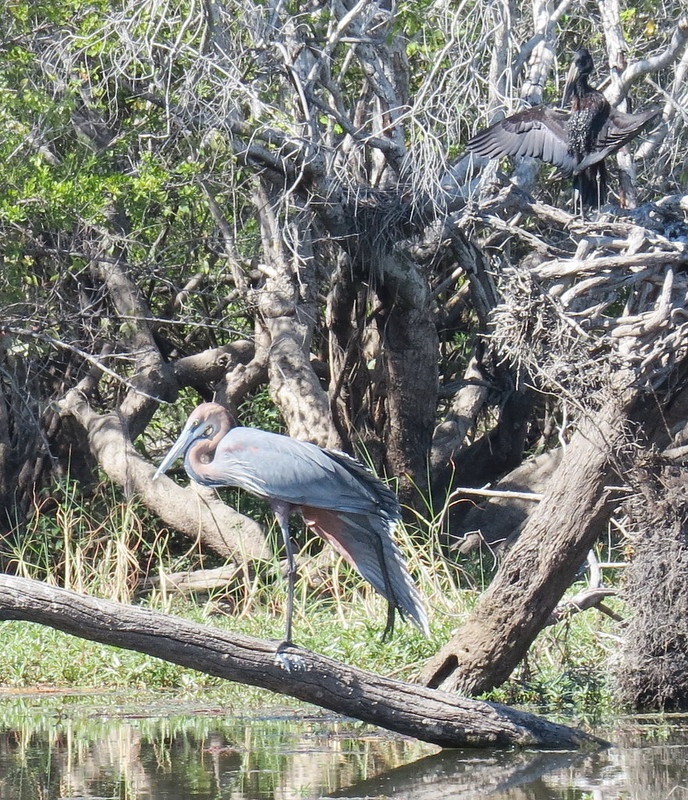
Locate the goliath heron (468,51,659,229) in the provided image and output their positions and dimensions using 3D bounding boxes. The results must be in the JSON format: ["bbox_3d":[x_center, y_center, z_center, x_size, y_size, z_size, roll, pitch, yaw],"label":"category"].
[{"bbox_3d":[1.340,-1.493,8.114,1.224,0.929,0.644,-1,5,0],"label":"goliath heron"}]

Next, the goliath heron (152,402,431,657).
[{"bbox_3d":[-0.238,0.593,6.623,1.270,1.086,0.356,5,-7,5],"label":"goliath heron"}]
